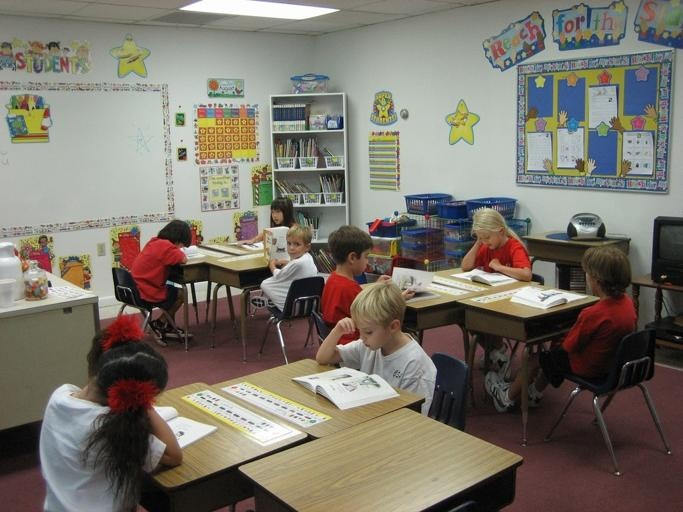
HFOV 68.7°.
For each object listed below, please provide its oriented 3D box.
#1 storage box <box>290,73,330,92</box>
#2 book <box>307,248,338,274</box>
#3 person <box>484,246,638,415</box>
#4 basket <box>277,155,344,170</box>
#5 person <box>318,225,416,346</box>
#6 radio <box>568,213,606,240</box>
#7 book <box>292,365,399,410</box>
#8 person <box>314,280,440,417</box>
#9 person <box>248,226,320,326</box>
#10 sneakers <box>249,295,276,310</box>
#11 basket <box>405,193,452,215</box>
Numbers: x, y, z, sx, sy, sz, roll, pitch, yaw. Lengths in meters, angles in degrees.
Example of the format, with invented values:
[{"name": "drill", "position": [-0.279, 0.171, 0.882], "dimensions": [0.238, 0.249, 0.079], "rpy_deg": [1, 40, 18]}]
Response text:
[{"name": "storage box", "position": [-0.446, -2.410, 6.971], "dimensions": [0.384, 0.198, 0.291], "rpy_deg": [-2, 10, -6]}, {"name": "book", "position": [-0.205, 0.060, 5.323], "dimensions": [0.295, 0.124, 0.404], "rpy_deg": [5, 2, -6]}, {"name": "person", "position": [1.421, 0.547, 3.205], "dimensions": [0.767, 1.279, 0.504], "rpy_deg": [8, 16, 39]}, {"name": "basket", "position": [-0.431, -1.305, 6.982], "dimensions": [0.952, 0.186, 0.204], "rpy_deg": [-3, 12, -6]}, {"name": "person", "position": [0.033, 0.132, 3.286], "dimensions": [0.685, 0.867, 0.574], "rpy_deg": [-7, 9, -26]}, {"name": "radio", "position": [2.258, -0.260, 4.604], "dimensions": [0.259, 0.210, 0.267], "rpy_deg": [0, -5, 4]}, {"name": "book", "position": [0.019, 0.559, 2.199], "dimensions": [0.286, 0.049, 0.431], "rpy_deg": [-11, 15, -36]}, {"name": "person", "position": [0.163, 0.448, 2.444], "dimensions": [0.381, 0.743, 0.515], "rpy_deg": [-7, 10, -39]}, {"name": "person", "position": [-0.476, 0.103, 4.484], "dimensions": [0.779, 0.954, 0.604], "rpy_deg": [-1, 3, -23]}, {"name": "sneakers", "position": [-0.734, 0.420, 4.605], "dimensions": [0.317, 0.128, 0.233], "rpy_deg": [2, 3, -8]}, {"name": "basket", "position": [1.041, -0.608, 5.992], "dimensions": [0.412, 0.160, 0.294], "rpy_deg": [-3, 5, -42]}]
